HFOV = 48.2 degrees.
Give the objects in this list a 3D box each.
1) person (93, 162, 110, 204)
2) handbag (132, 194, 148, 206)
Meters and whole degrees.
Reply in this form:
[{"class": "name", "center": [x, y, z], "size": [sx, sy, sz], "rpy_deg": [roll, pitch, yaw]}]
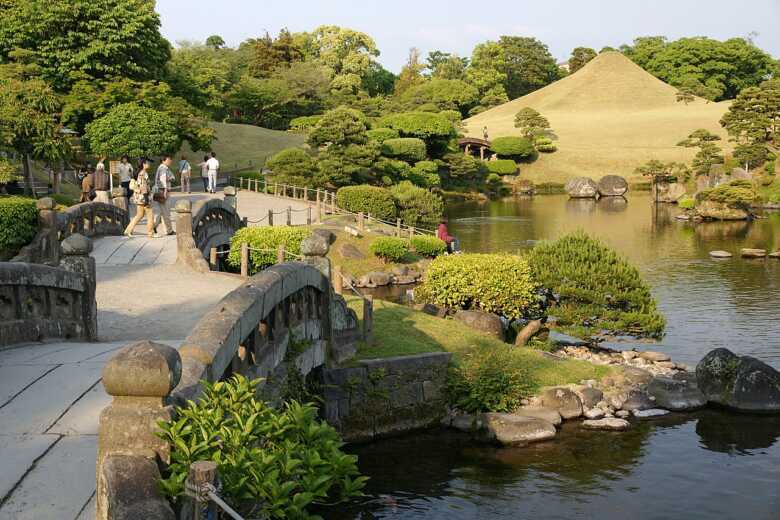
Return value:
[{"class": "person", "center": [-9.968, -2.672, 30.031], "size": [0.434, 1.444, 1.657], "rpy_deg": [-1, 3, -20]}, {"class": "handbag", "center": [-7.871, -1.889, 27.632], "size": [0.501, 0.358, 0.407], "rpy_deg": [0, 3, -3]}]
